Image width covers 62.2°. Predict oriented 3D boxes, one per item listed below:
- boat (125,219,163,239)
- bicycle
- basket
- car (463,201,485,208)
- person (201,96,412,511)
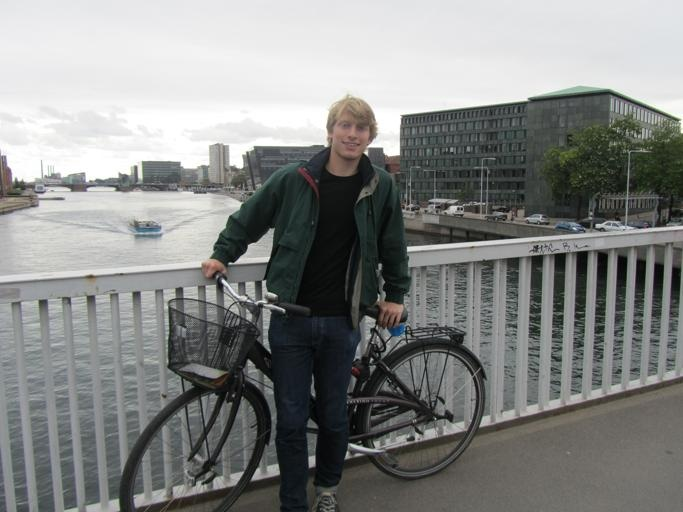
[{"bbox_3d":[-26.554,-3.520,74.965,2.809,2.080,8.629,-6,7,-19],"label":"boat"},{"bbox_3d":[-0.181,0.671,3.522,2.348,1.398,1.016,-3,7,-27],"label":"bicycle"},{"bbox_3d":[-0.683,0.416,2.811,0.399,0.416,0.494,-4,8,-30],"label":"basket"},{"bbox_3d":[21.137,-8.253,90.781,2.116,0.888,2.929,-2,13,-3],"label":"car"},{"bbox_3d":[-0.108,0.259,3.029,1.068,2.176,0.478,-3,7,-21],"label":"person"}]
